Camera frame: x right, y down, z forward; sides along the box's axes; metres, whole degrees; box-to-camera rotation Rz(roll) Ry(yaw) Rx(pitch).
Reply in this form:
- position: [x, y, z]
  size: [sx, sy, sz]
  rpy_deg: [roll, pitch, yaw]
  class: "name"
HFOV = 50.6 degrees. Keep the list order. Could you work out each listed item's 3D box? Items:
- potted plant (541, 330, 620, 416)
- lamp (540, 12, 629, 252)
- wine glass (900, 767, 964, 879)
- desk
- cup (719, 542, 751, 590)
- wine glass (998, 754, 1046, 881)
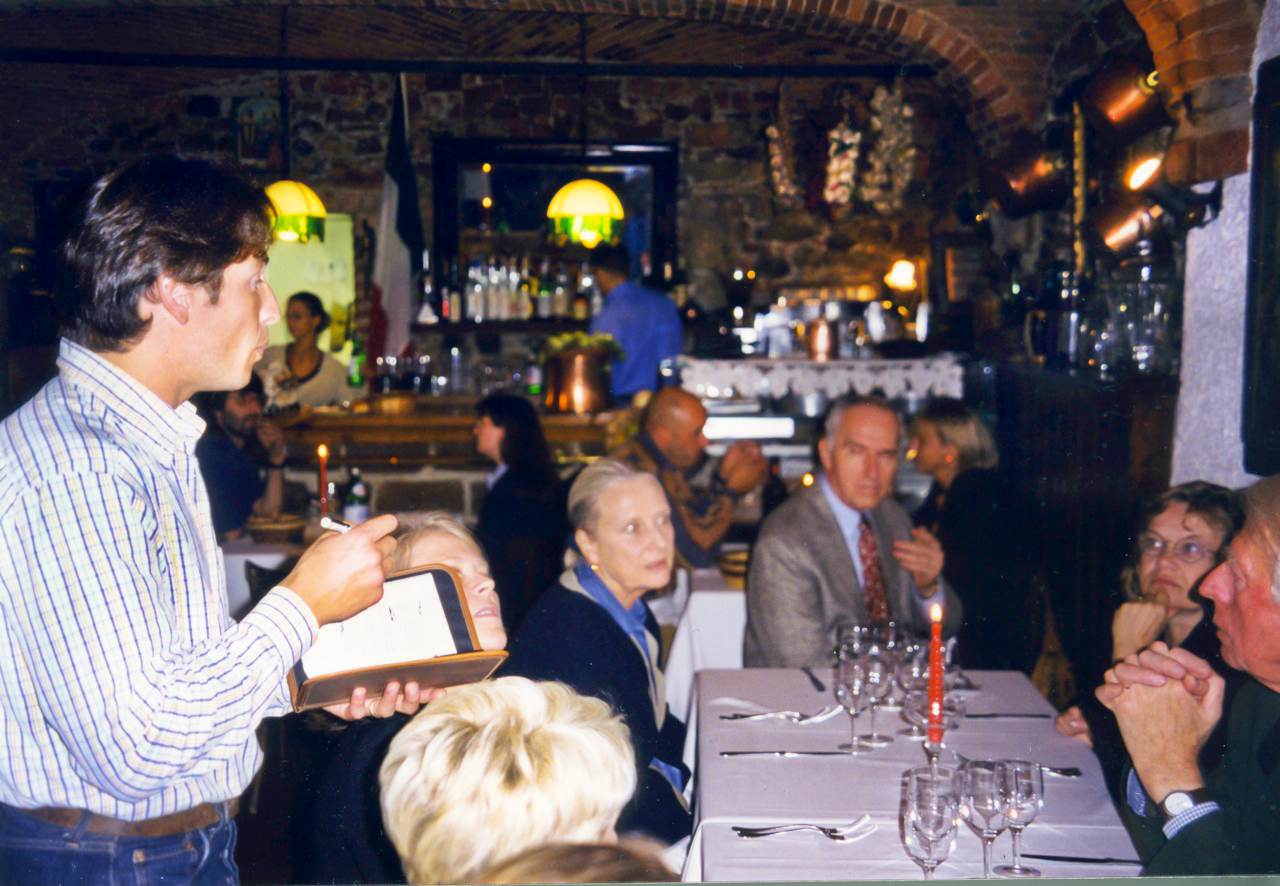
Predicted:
- position: [-0.317, -0.403, 7.806]
  size: [0.447, 0.477, 0.444]
  rpy_deg: [1, -2, 1]
  class: "potted plant"
- position: [-0.284, -1.976, 8.261]
  size: [0.523, 1.456, 2.093]
  rpy_deg: [2, 3, -3]
  class: "lamp"
- position: [0.766, 1.000, 3.613]
  size: [0.150, 0.271, 0.230]
  rpy_deg: [3, 3, 11]
  class: "wine glass"
- position: [1.021, -0.394, 7.843]
  size: [1.626, 0.315, 0.493]
  rpy_deg: [3, 3, 0]
  class: "desk"
- position: [0.427, 0.548, 6.050]
  size: [0.135, 0.122, 0.150]
  rpy_deg: [2, -10, -3]
  class: "cup"
- position: [1.019, 0.980, 3.594]
  size: [0.106, 0.293, 0.192]
  rpy_deg: [4, 3, 26]
  class: "wine glass"
